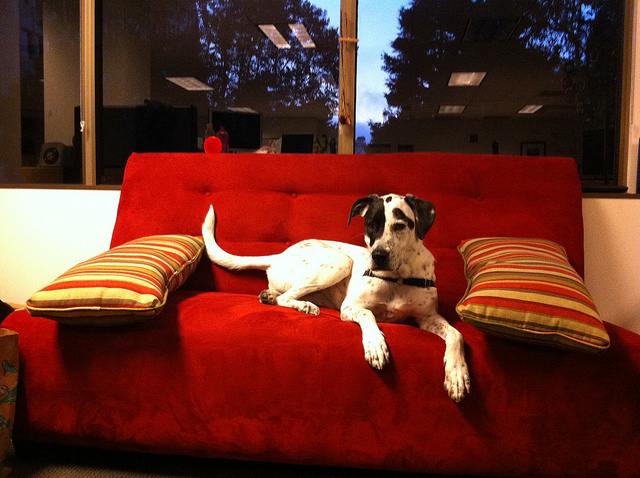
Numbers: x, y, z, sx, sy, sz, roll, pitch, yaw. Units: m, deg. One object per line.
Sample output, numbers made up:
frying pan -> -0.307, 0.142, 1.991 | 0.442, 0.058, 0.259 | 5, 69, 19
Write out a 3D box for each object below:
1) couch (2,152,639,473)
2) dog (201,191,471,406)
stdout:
couch -> 0.020, 0.241, 2.429 | 2.809, 1.582, 1.132 | 5, 6, 4
dog -> -0.004, 0.044, 2.662 | 1.863, 0.842, 0.781 | 18, 19, 40
